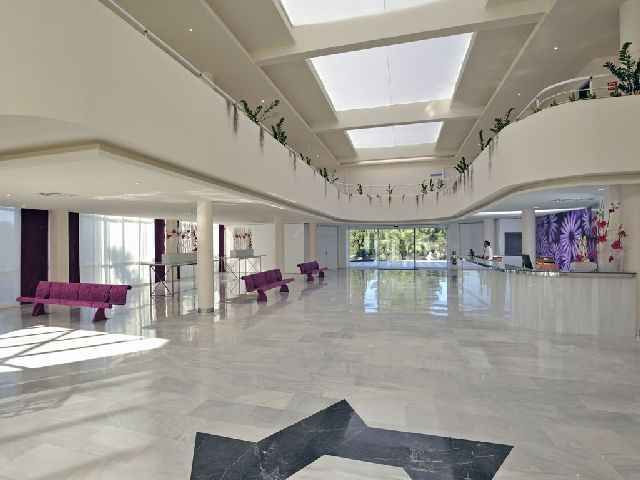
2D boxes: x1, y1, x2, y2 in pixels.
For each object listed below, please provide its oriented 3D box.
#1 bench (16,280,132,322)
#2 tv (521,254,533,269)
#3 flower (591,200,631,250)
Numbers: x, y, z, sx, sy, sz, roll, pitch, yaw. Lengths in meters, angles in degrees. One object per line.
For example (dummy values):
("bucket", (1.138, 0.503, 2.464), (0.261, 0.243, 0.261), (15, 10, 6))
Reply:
("bench", (-6.428, 1.596, 10.355), (2.740, 0.883, 0.845), (2, -1, 10))
("tv", (5.275, 0.546, 10.162), (0.038, 0.271, 0.392), (-15, -4, 10))
("flower", (6.450, -0.310, 8.984), (0.459, 1.131, 0.906), (0, 7, 10))
